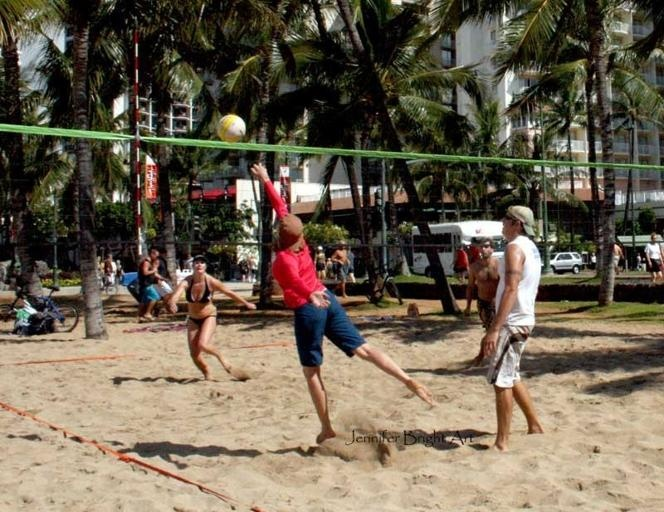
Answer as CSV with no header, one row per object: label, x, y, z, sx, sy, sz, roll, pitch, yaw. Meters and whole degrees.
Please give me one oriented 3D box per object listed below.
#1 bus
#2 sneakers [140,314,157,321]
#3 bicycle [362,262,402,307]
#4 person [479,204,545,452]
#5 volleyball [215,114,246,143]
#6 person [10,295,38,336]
bus,4.199,-0.146,29.333,1.929,1.915,3.458,-5,0,-27
sneakers,-3.865,1.291,18.288,0.272,0.111,0.146,-9,-4,30
bicycle,1.252,0.664,21.050,0.596,0.657,1.036,-2,-8,-35
person,2.030,0.782,9.700,0.607,2.626,0.751,6,13,31
volleyball,-1.463,-1.865,12.810,0.350,0.383,0.352,-4,11,-16
person,-5.803,1.044,16.565,0.443,0.636,1.839,-5,11,-20
